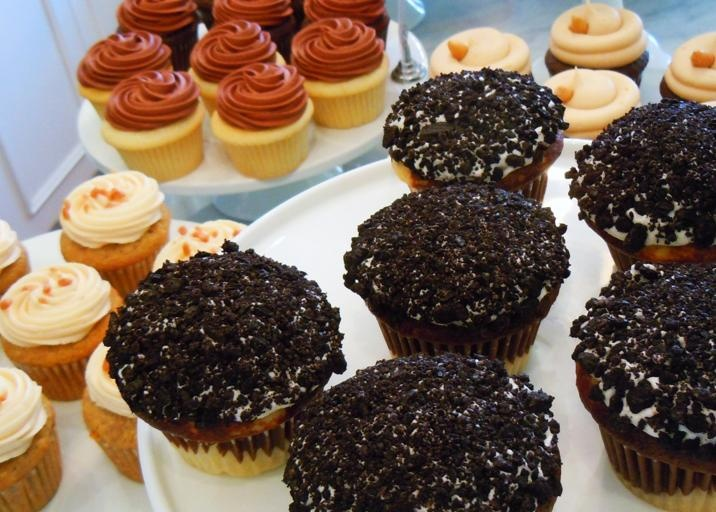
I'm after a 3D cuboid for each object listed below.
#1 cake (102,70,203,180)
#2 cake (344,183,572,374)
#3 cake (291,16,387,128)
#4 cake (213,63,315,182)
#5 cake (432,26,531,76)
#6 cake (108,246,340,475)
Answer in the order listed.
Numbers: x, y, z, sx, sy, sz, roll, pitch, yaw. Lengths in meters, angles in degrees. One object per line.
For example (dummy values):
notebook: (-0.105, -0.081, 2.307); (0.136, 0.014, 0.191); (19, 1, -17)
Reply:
cake: (-1.075, -0.743, 3.698); (0.503, 0.523, 0.595); (-1, 46, -4)
cake: (0.349, 0.150, 2.283); (0.631, 0.454, 0.655); (-26, 40, -11)
cake: (-0.084, -1.014, 3.783); (0.493, 0.530, 0.606); (-4, 47, 0)
cake: (-0.450, -0.709, 3.534); (0.507, 0.539, 0.618); (-1, 44, -3)
cake: (0.701, -1.150, 3.749); (0.564, 0.162, 0.460); (-1, 46, 7)
cake: (-0.424, 0.361, 2.226); (0.764, 0.545, 0.564); (-12, 46, -4)
